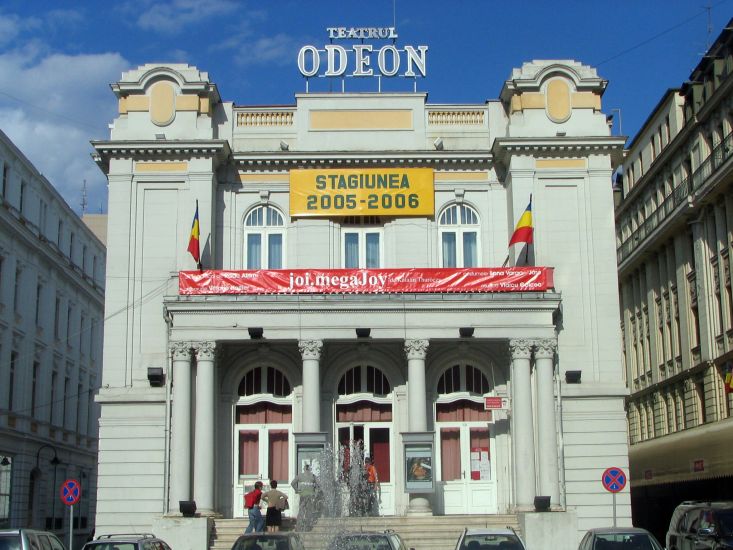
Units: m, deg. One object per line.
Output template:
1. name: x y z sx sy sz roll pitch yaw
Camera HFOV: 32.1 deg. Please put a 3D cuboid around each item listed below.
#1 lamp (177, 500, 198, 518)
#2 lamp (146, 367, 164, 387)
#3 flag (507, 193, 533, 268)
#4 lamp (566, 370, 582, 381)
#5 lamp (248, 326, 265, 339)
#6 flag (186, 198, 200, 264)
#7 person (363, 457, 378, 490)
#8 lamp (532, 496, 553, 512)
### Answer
1. lamp: -7.195 9.307 51.197 0.526 0.622 0.706 -1 -7 -4
2. lamp: -8.978 4.285 54.558 0.875 1.072 0.657 0 -14 -4
3. flag: 6.786 -2.015 55.261 1.061 3.303 1.934 -2 -19 3
4. lamp: 8.934 4.309 54.620 0.592 0.519 0.353 1 7 3
5. lamp: -4.623 2.387 53.250 0.435 0.365 0.499 0 -16 1
6. flag: -7.431 -1.938 55.117 0.531 2.956 1.234 1 -19 -7
7. person: 0.246 8.236 53.988 0.603 1.571 1.423 -1 -20 0
8. lamp: 7.193 9.192 51.661 0.537 0.642 0.600 1 -8 -4
